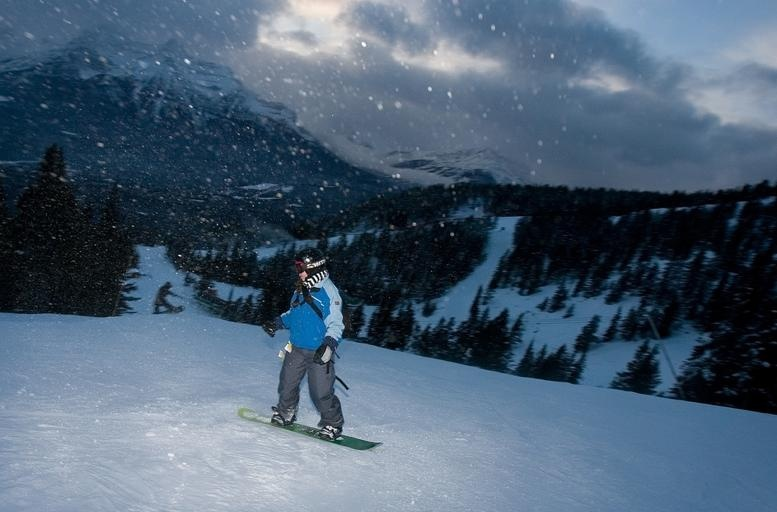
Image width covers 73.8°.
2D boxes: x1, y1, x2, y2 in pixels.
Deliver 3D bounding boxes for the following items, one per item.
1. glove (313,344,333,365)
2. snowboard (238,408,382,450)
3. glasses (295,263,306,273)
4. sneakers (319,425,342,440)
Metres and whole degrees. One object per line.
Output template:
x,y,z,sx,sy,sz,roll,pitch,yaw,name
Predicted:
-1.110,1.725,9.201,0.374,0.199,0.375,-12,24,14,glove
-1.497,3.195,9.445,2.952,0.118,0.440,9,3,19,snowboard
-1.572,0.228,9.375,0.154,0.186,0.091,6,29,18,glasses
-1.091,3.210,9.370,0.239,0.175,0.399,-17,-37,41,sneakers
